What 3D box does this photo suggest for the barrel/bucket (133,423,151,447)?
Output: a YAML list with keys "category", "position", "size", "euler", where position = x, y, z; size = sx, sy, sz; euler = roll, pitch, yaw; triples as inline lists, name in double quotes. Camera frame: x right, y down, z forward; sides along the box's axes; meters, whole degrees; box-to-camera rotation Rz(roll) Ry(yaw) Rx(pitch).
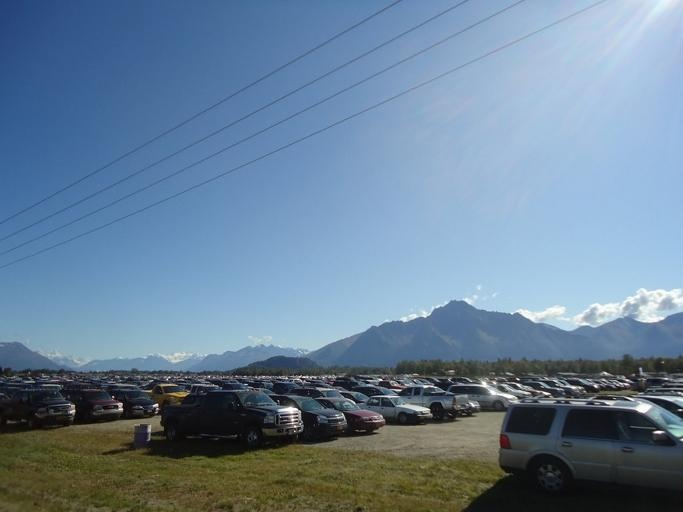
- category: "barrel/bucket"
  position: [-8.716, 7.858, 18.521]
  size: [0.639, 0.920, 0.834]
  euler: [5, -21, -29]
